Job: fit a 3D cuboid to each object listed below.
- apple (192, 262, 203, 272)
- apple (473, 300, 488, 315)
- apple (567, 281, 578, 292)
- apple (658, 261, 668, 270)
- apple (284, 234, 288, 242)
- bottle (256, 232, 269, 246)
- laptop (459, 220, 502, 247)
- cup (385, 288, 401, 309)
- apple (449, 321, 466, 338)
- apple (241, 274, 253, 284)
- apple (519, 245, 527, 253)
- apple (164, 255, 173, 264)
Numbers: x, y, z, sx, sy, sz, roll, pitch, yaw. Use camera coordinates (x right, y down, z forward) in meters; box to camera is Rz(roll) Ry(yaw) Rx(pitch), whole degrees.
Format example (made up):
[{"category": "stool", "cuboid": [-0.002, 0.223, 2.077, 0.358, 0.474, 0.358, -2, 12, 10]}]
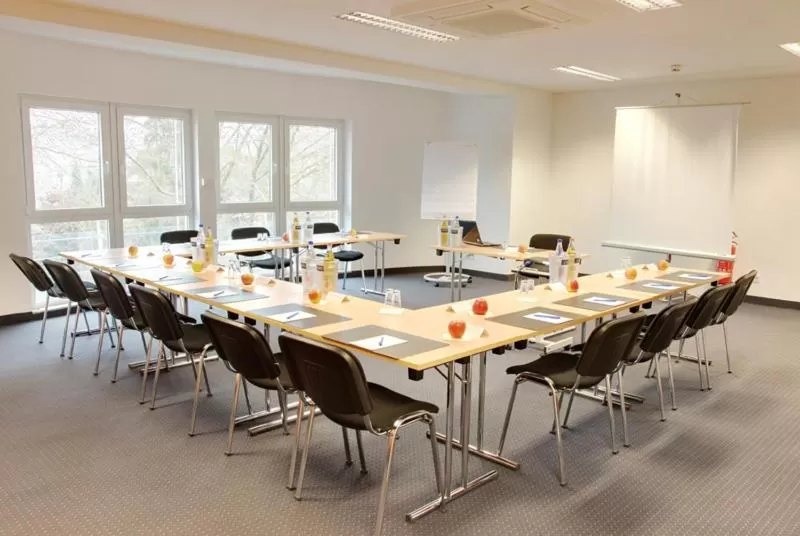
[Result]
[{"category": "apple", "cuboid": [-2.031, -0.011, 5.255, 0.102, 0.095, 0.100, 6, 12, 24]}, {"category": "apple", "cuboid": [0.602, 0.301, 3.976, 0.106, 0.100, 0.103, 4, 10, 35]}, {"category": "apple", "cuboid": [1.547, 0.167, 4.728, 0.090, 0.083, 0.087, -3, 13, 4]}, {"category": "apple", "cuboid": [2.835, -0.023, 5.660, 0.084, 0.072, 0.071, -27, -19, -44]}, {"category": "apple", "cuboid": [-1.576, -0.426, 7.245, 0.075, 0.095, 0.096, -2, 4, -2]}, {"category": "bottle", "cuboid": [-1.875, -0.398, 7.176, 0.165, 0.288, 0.289, -1, 9, -15]}, {"category": "laptop", "cuboid": [1.104, -0.473, 7.438, 0.423, 0.275, 0.466, -2, 6, -32]}, {"category": "cup", "cuboid": [-0.061, 0.249, 4.193, 0.118, 0.158, 0.062, 10, 16, 37]}, {"category": "apple", "cuboid": [0.373, 0.402, 3.480, 0.104, 0.104, 0.102, -2, 10, -4]}, {"category": "apple", "cuboid": [-1.389, 0.104, 4.802, 0.092, 0.086, 0.089, 3, 19, 9]}, {"category": "apple", "cuboid": [1.591, -0.251, 6.734, 0.105, 0.088, 0.101, -4, 11, -1]}, {"category": "apple", "cuboid": [-2.439, -0.091, 5.518, 0.094, 0.090, 0.095, -11, 17, -37]}]
